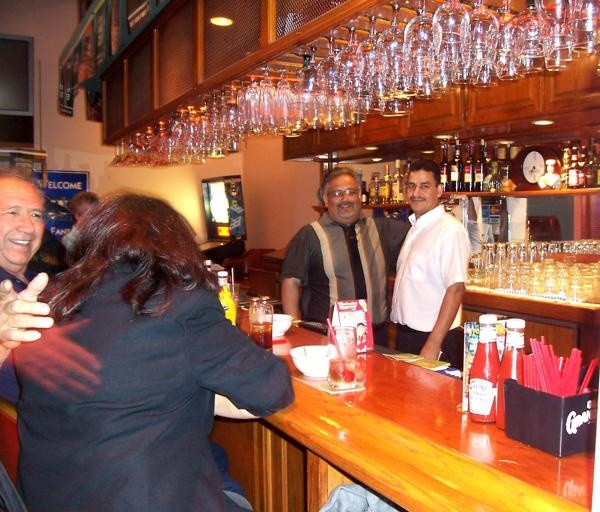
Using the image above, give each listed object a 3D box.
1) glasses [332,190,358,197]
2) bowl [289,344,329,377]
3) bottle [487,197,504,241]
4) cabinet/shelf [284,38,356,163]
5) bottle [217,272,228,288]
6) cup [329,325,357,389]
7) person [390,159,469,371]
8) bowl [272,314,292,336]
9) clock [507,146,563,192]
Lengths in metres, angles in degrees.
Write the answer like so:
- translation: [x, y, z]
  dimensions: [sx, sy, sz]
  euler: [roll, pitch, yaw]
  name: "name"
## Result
- translation: [0.276, -0.393, 3.083]
  dimensions: [0.155, 0.047, 0.052]
  euler: [-6, 6, -11]
  name: "glasses"
- translation: [0.036, 0.396, 1.881]
  dimensions: [0.135, 0.092, 0.209]
  euler: [-4, 6, -2]
  name: "bowl"
- translation: [1.490, -0.271, 3.714]
  dimensions: [0.159, 0.328, 0.080]
  euler: [-7, 7, -26]
  name: "bottle"
- translation: [0.127, -0.868, 2.793]
  dimensions: [0.335, 0.859, 0.387]
  euler: [-9, -16, 13]
  name: "cabinet/shelf"
- translation: [-0.393, 0.122, 2.534]
  dimensions: [0.066, 0.078, 0.065]
  euler: [-10, 14, -42]
  name: "bottle"
- translation: [0.147, 0.340, 1.681]
  dimensions: [0.100, 0.217, 0.098]
  euler: [-4, 6, 0]
  name: "cup"
- translation: [0.769, 0.073, 2.876]
  dimensions: [0.448, 1.289, 0.564]
  euler: [-4, 6, -2]
  name: "person"
- translation: [-0.089, 0.337, 2.384]
  dimensions: [0.089, 0.059, 0.093]
  euler: [1, -5, 0]
  name: "bowl"
- translation: [1.662, -0.647, 3.553]
  dimensions: [0.221, 0.239, 0.078]
  euler: [1, 10, 9]
  name: "clock"
